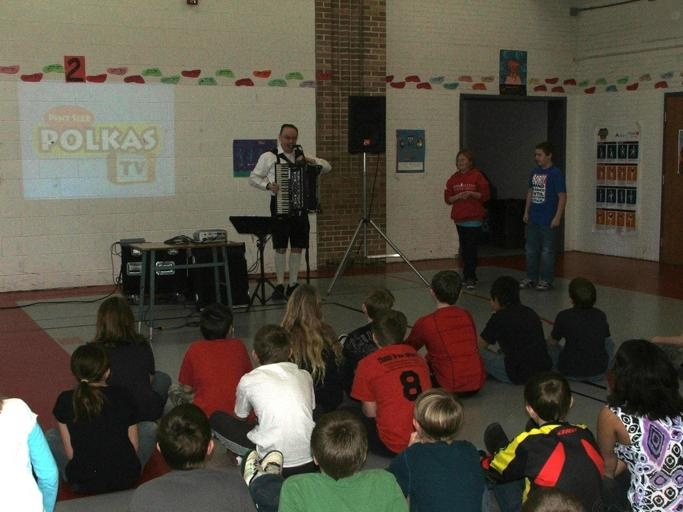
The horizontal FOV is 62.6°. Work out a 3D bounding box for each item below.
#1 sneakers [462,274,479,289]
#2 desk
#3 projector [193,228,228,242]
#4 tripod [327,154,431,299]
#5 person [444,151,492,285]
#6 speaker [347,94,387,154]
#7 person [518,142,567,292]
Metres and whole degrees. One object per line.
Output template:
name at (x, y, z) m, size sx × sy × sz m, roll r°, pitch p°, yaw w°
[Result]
sneakers at (1.707, 0.344, 7.482) m, size 0.167 × 0.203 × 0.503 m, roll -1°, pitch -5°, yaw 17°
desk at (-1.654, 0.314, 6.053) m, size 1.006 × 0.879 × 0.461 m, roll -4°, pitch 8°, yaw -28°
projector at (-1.434, -0.221, 6.170) m, size 0.326 × 0.108 × 0.213 m, roll -6°, pitch 9°, yaw -20°
tripod at (0.501, -0.493, 8.654) m, size 1.458 × 2.013 × 1.406 m, roll -6°, pitch 35°, yaw -6°
person at (1.666, -0.513, 7.622) m, size 0.554 × 1.806 × 0.599 m, roll 3°, pitch 10°, yaw 33°
speaker at (0.354, -1.839, 8.105) m, size 0.557 × 0.851 × 0.511 m, roll 1°, pitch -3°, yaw -6°
person at (2.635, -0.522, 7.360) m, size 0.523 × 1.892 × 0.526 m, roll 1°, pitch 9°, yaw 19°
